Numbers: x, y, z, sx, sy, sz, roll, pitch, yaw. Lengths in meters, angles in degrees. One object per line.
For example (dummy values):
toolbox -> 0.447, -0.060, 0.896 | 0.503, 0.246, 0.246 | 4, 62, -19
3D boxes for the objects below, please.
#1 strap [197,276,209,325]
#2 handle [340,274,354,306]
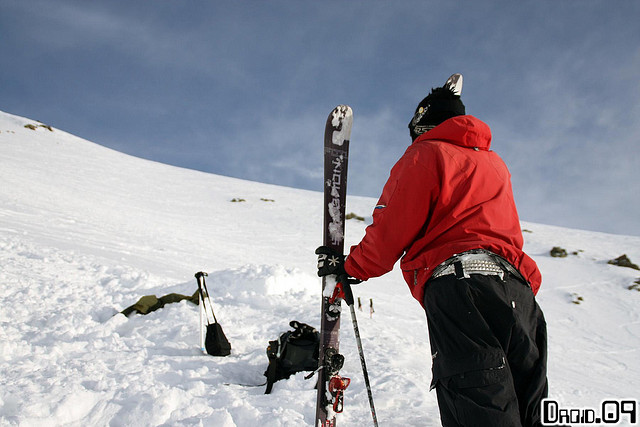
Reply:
strap -> -2.948, 2.221, 15.335 | 0.162, 1.328, 0.152 | -10, 6, -27
handle -> 0.559, 1.504, 12.414 | 0.175, 0.698, 0.174 | -22, -6, 39
